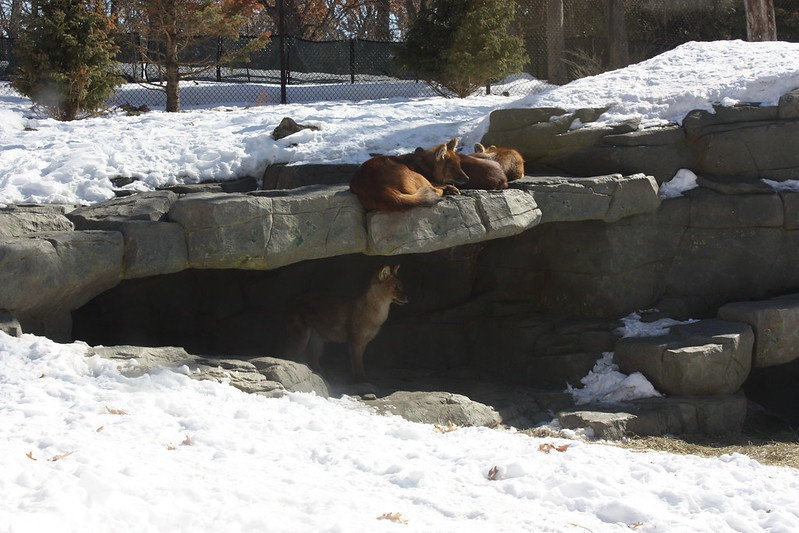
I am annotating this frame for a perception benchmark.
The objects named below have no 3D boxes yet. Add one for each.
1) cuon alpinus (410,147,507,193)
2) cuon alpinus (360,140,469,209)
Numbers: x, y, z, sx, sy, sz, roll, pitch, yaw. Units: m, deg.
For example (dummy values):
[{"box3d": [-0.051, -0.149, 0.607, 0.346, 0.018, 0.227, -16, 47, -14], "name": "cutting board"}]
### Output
[{"box3d": [1.104, -1.529, 20.033, 1.760, 0.676, 1.016, 9, -26, -6], "name": "cuon alpinus"}, {"box3d": [0.200, -1.458, 19.212, 1.536, 0.700, 1.156, -9, 8, -26], "name": "cuon alpinus"}]
